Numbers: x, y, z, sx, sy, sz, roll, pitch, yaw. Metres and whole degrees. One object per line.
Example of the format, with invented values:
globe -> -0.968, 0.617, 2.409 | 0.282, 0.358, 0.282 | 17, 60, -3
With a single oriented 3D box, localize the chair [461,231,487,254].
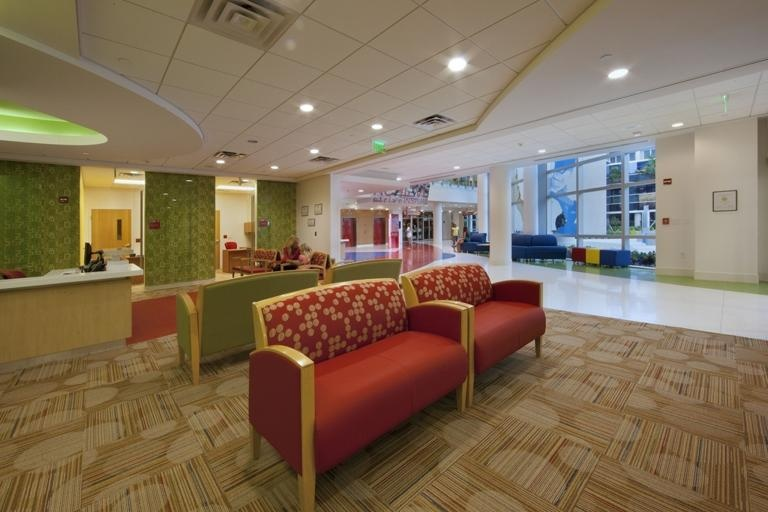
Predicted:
chair -> 4.007, -0.541, 19.089 | 0.878, 0.965, 1.227 | 1, -2, -36

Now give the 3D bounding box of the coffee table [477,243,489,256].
coffee table -> 4.116, -0.279, 18.530 | 0.527, 0.504, 0.537 | -1, -1, 14

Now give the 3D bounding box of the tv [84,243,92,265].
tv -> -4.585, -0.040, 6.912 | 0.075, 0.336, 0.251 | -3, 5, -29
